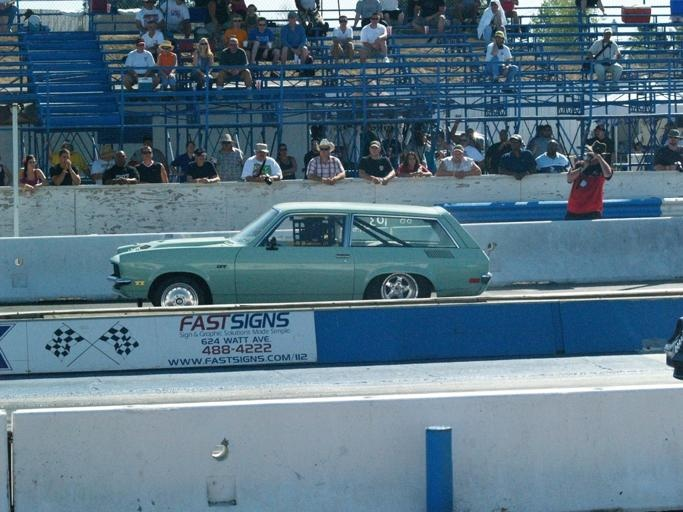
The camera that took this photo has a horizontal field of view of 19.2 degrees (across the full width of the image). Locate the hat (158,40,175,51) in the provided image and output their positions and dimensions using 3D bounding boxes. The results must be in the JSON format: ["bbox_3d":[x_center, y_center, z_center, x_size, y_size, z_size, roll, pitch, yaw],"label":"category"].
[{"bbox_3d":[-4.249,-5.006,48.564,0.349,0.176,0.436,1,-6,-7],"label":"hat"}]

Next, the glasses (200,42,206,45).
[{"bbox_3d":[-3.301,-5.001,47.962,0.158,0.112,0.111,-2,14,-5],"label":"glasses"}]

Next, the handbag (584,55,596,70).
[{"bbox_3d":[6.053,-4.692,49.534,0.256,0.389,0.379,4,9,13],"label":"handbag"}]

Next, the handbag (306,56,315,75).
[{"bbox_3d":[-0.794,-4.595,49.280,0.244,0.432,0.400,3,5,1],"label":"handbag"}]

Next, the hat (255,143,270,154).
[{"bbox_3d":[-1.805,-2.356,44.777,0.253,0.147,0.348,2,-4,-17],"label":"hat"}]

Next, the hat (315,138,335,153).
[{"bbox_3d":[-0.415,-2.479,46.078,0.428,0.220,0.540,1,-16,2],"label":"hat"}]

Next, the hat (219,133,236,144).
[{"bbox_3d":[-2.671,-2.632,45.921,0.315,0.177,0.309,0,1,40],"label":"hat"}]

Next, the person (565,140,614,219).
[{"bbox_3d":[5.279,-1.542,43.214,0.942,1.618,0.652,1,14,7],"label":"person"}]
